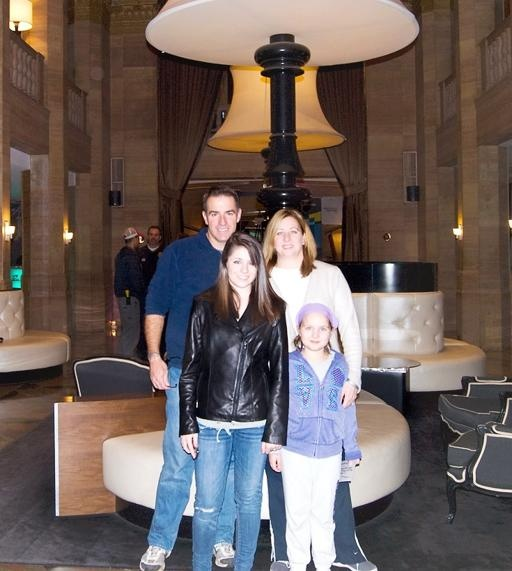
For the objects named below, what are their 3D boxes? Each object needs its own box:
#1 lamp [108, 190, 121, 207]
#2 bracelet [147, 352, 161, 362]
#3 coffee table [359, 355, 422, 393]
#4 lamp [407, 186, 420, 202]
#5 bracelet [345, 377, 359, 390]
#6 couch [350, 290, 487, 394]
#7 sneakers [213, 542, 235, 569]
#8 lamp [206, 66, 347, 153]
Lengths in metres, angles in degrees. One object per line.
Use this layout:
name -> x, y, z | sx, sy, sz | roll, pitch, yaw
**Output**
lamp -> -3.017, -1.882, 12.183 | 0.253, 0.360, 0.299 | -1, 3, -5
bracelet -> -0.389, 0.271, 2.145 | 0.038, 0.031, 0.035 | 1, -6, -1
coffee table -> 1.038, 0.722, 4.339 | 0.403, 0.176, 0.382 | -1, 4, -5
lamp -> 3.291, -1.923, 11.837 | 0.422, 0.351, 0.092 | -1, 1, 10
bracelet -> 0.367, 0.373, 2.150 | 0.050, 0.043, 0.048 | 24, -2, 7
couch -> 1.457, 0.472, 5.289 | 1.127, 0.647, 1.066 | 0, -1, -25
sneakers -> -0.117, 1.065, 2.219 | 0.052, 0.047, 0.115 | 2, -11, -12
lamp -> 0.120, -1.077, 3.831 | 0.823, 0.481, 0.782 | 0, -1, -2
